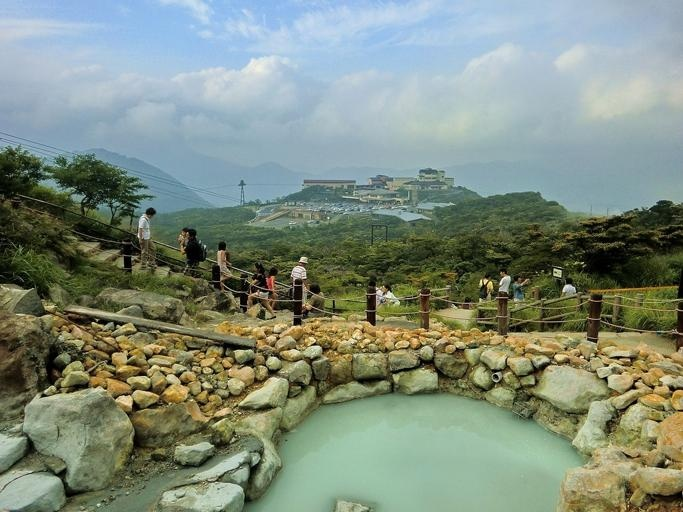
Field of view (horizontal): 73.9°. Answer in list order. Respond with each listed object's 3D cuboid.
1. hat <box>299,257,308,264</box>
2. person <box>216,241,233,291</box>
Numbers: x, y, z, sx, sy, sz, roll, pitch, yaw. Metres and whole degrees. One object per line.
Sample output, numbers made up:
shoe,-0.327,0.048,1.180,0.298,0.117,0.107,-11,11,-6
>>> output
hat,-0.935,0.082,11.365,0.215,0.109,0.202,17,-8,-26
person,-3.528,0.255,13.490,0.355,1.388,1.765,1,-1,-14
